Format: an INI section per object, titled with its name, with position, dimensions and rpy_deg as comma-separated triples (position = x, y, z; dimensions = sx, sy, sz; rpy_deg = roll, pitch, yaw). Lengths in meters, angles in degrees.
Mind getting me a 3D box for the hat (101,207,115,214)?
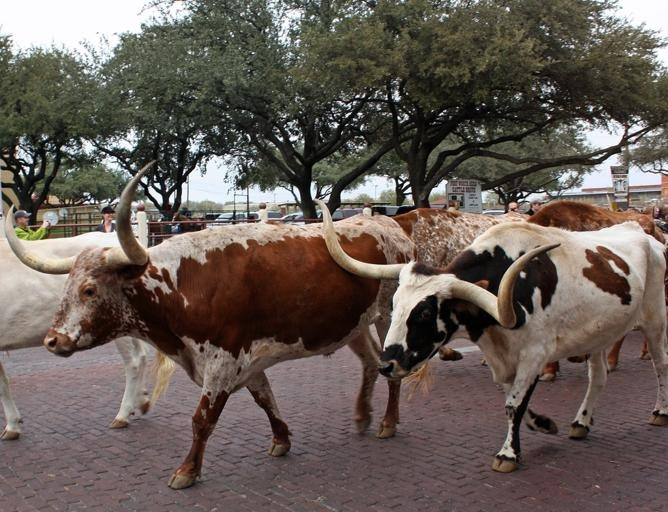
[hat]
position = -4.458, -0.900, 11.225
dimensions = 0.193, 0.146, 0.217
rpy_deg = 5, 8, -4
